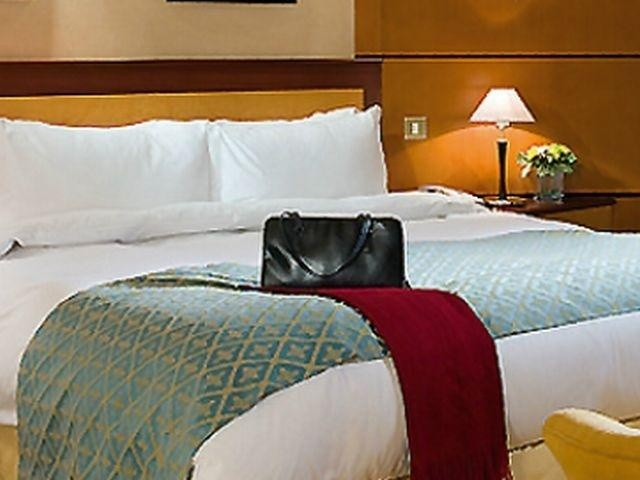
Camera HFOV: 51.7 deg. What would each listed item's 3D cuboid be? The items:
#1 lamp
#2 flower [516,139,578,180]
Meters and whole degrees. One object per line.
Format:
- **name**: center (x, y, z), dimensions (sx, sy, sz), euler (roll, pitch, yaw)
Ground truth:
- **lamp**: center (1.250, -0.635, 4.516), dimensions (0.539, 0.832, 0.569), euler (-12, 16, -28)
- **flower**: center (1.505, -0.524, 4.353), dimensions (0.242, 0.132, 0.280), euler (-6, 24, 3)
